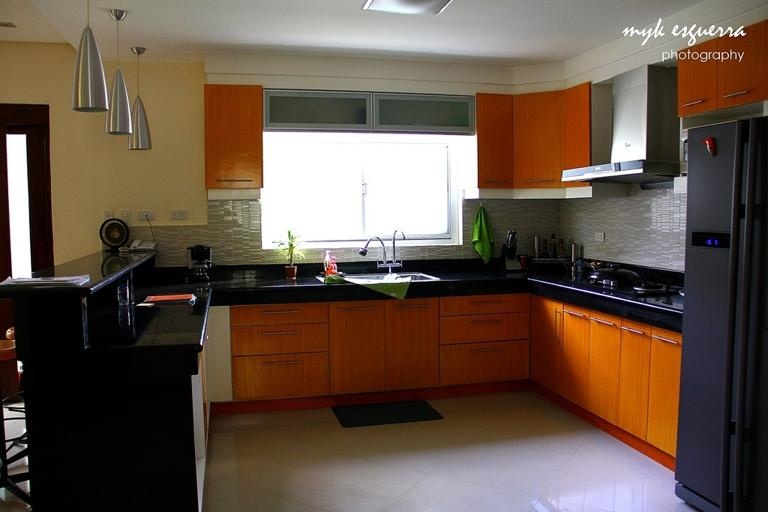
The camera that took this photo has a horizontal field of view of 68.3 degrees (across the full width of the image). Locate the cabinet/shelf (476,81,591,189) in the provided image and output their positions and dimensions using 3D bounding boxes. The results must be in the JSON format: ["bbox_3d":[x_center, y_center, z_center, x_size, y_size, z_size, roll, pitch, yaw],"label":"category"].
[{"bbox_3d":[1.486,-1.212,5.552,1.133,1.011,0.328,0,0,2],"label":"cabinet/shelf"}]

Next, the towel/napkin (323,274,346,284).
[{"bbox_3d":[-0.446,0.197,5.145,0.204,0.058,0.306,-2,15,-5],"label":"towel/napkin"}]

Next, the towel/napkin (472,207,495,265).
[{"bbox_3d":[1.027,-0.229,5.875,0.225,0.569,0.243,4,15,17],"label":"towel/napkin"}]

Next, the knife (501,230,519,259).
[{"bbox_3d":[1.315,-0.137,5.912,0.169,0.282,0.277,3,15,12],"label":"knife"}]

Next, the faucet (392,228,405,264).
[{"bbox_3d":[0.159,-0.116,5.814,0.136,0.356,0.364,0,15,3],"label":"faucet"}]

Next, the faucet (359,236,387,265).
[{"bbox_3d":[-0.113,-0.058,5.676,0.280,0.337,0.342,-1,15,0],"label":"faucet"}]

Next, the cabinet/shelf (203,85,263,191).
[{"bbox_3d":[-1.397,-1.125,5.296,0.529,0.940,0.231,0,15,3],"label":"cabinet/shelf"}]

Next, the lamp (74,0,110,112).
[{"bbox_3d":[-1.822,-1.150,3.461,0.190,0.508,0.244,-8,16,-27],"label":"lamp"}]
